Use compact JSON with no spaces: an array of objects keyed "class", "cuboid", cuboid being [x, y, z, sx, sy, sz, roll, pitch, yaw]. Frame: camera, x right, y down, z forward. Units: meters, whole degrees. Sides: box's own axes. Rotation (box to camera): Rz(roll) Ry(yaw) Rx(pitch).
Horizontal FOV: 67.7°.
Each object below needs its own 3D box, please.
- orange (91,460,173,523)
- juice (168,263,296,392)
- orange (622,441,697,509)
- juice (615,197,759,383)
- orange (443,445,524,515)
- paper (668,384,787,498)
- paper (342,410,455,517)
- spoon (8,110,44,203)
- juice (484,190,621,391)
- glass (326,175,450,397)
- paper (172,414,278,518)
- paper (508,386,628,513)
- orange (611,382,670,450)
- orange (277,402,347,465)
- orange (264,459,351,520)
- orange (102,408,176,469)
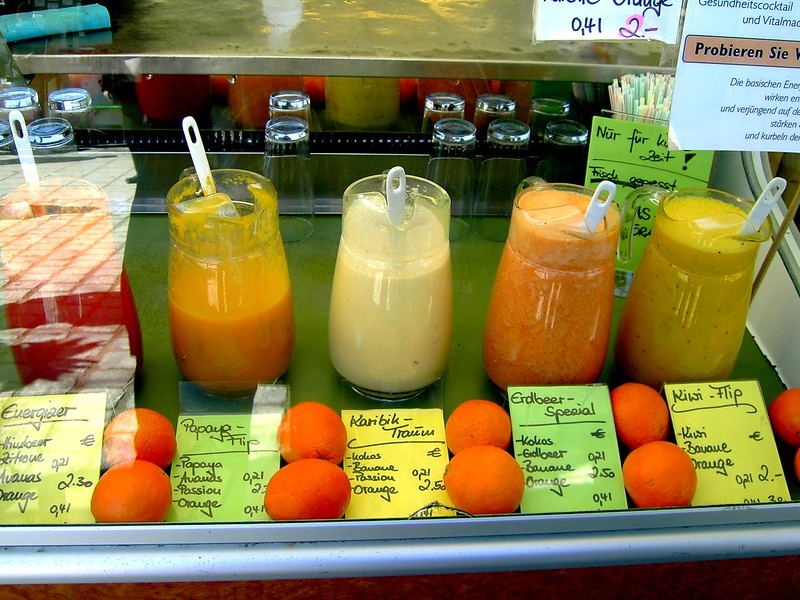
[{"class":"orange","cuboid":[-0.319,0.226,0.716,0.074,0.069,0.068,6,-6,-31]},{"class":"juice","cuboid":[-0.210,0.027,0.891,0.182,0.181,0.182,-2,25,-4]},{"class":"orange","cuboid":[0.343,0.236,0.783,0.085,0.060,0.089,-4,33,-6]},{"class":"juice","cuboid":[0.417,0.009,0.873,0.164,0.256,0.120,12,35,20]},{"class":"orange","cuboid":[0.105,0.243,0.791,0.092,0.074,0.071,9,34,-5]},{"class":"paper","cuboid":[0.452,0.193,0.825,0.140,0.103,0.136,-2,32,-2]},{"class":"paper","cuboid":[-0.003,0.226,0.802,0.149,0.020,0.183,-1,43,-1]},{"class":"spoon","cuboid":[-0.492,-0.191,0.785,0.033,0.008,0.167,-9,72,-27]},{"class":"juice","cuboid":[0.222,-0.032,0.874,0.181,0.337,0.165,4,33,8]},{"class":"glass","cuboid":[-0.018,-0.035,0.864,0.185,0.348,0.155,-5,33,-6]},{"class":"paper","cuboid":[-0.228,0.215,0.784,0.140,0.068,0.139,-3,33,-4]},{"class":"paper","cuboid":[0.227,0.200,0.810,0.144,0.102,0.137,-1,32,-1]},{"class":"orange","cuboid":[0.333,0.167,0.883,0.083,0.098,0.083,-7,1,14]},{"class":"orange","cuboid":[-0.118,0.187,0.801,0.089,0.070,0.074,14,35,22]},{"class":"orange","cuboid":[-0.113,0.235,0.726,0.088,0.066,0.068,-2,-6,-23]},{"class":"orange","cuboid":[-0.338,0.188,0.777,0.085,0.065,0.073,-12,34,-17]}]
